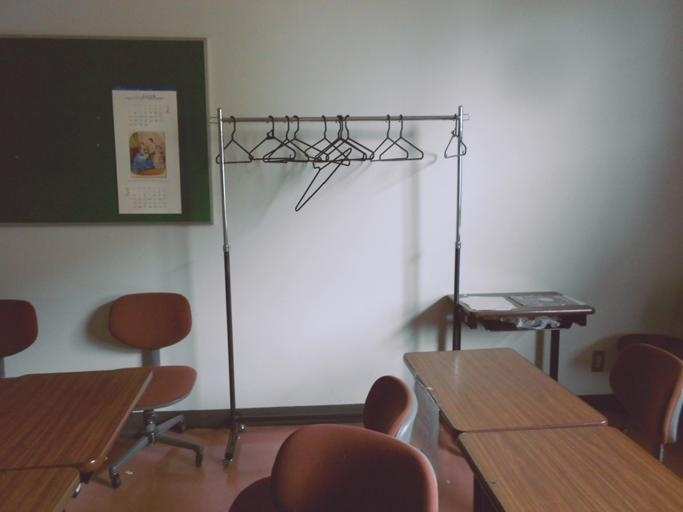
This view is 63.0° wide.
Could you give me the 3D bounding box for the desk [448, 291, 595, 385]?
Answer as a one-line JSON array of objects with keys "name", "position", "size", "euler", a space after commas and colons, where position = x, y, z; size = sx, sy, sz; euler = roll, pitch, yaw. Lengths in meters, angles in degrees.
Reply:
[{"name": "desk", "position": [1.289, 0.684, 4.018], "size": [0.854, 0.851, 0.749], "euler": [1, 11, 9]}]
